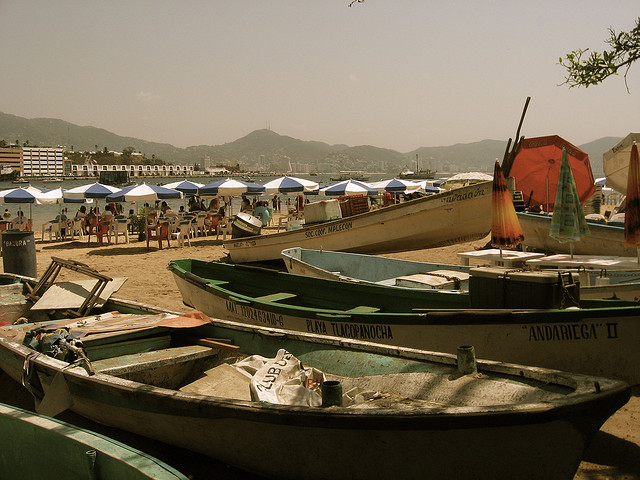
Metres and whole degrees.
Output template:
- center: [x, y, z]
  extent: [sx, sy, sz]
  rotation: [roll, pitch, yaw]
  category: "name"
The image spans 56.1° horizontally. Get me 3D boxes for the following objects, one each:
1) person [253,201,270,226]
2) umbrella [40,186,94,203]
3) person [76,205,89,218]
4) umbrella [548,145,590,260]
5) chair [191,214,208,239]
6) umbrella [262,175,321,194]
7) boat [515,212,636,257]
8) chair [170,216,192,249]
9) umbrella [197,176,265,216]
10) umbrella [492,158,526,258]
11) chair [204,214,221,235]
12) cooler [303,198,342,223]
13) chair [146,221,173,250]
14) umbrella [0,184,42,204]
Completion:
- center: [-1.957, -0.890, 20.357]
  extent: [0.849, 0.883, 1.038]
  rotation: [-1, 1, -11]
  category: "person"
- center: [-9.360, -1.582, 22.091]
  extent: [1.454, 0.469, 1.350]
  rotation: [0, -3, 7]
  category: "umbrella"
- center: [-9.140, -1.041, 23.164]
  extent: [0.574, 0.262, 0.758]
  rotation: [1, 6, -12]
  category: "person"
- center: [3.874, -0.579, 9.374]
  extent: [0.556, 1.675, 0.514]
  rotation: [-1, 12, 20]
  category: "umbrella"
- center: [-4.374, -0.494, 22.086]
  extent: [0.566, 0.911, 1.853]
  rotation: [-6, 10, -10]
  category: "chair"
- center: [-1.080, -2.199, 24.596]
  extent: [1.466, 0.432, 1.425]
  rotation: [1, 0, -36]
  category: "umbrella"
- center: [4.904, -0.080, 11.630]
  extent: [0.765, 0.500, 3.034]
  rotation: [-5, 8, -27]
  category: "boat"
- center: [-4.592, -0.282, 19.918]
  extent: [0.810, 0.892, 0.733]
  rotation: [6, 18, 12]
  category: "chair"
- center: [-3.444, -1.936, 22.834]
  extent: [1.941, 1.144, 1.892]
  rotation: [1, 2, -17]
  category: "umbrella"
- center: [2.769, -0.464, 8.959]
  extent: [0.423, 1.448, 0.508]
  rotation: [-2, 11, 15]
  category: "umbrella"
- center: [-4.033, -0.595, 22.240]
  extent: [0.670, 0.758, 0.631]
  rotation: [-8, 18, -34]
  category: "chair"
- center: [-0.028, -0.740, 16.484]
  extent: [0.758, 0.448, 0.750]
  rotation: [-9, -2, -45]
  category: "cooler"
- center: [-5.118, -0.167, 19.173]
  extent: [0.685, 0.749, 0.682]
  rotation: [-2, 2, -35]
  category: "chair"
- center: [-10.945, -1.548, 21.638]
  extent: [1.165, 0.614, 3.550]
  rotation: [-10, 11, -33]
  category: "umbrella"
